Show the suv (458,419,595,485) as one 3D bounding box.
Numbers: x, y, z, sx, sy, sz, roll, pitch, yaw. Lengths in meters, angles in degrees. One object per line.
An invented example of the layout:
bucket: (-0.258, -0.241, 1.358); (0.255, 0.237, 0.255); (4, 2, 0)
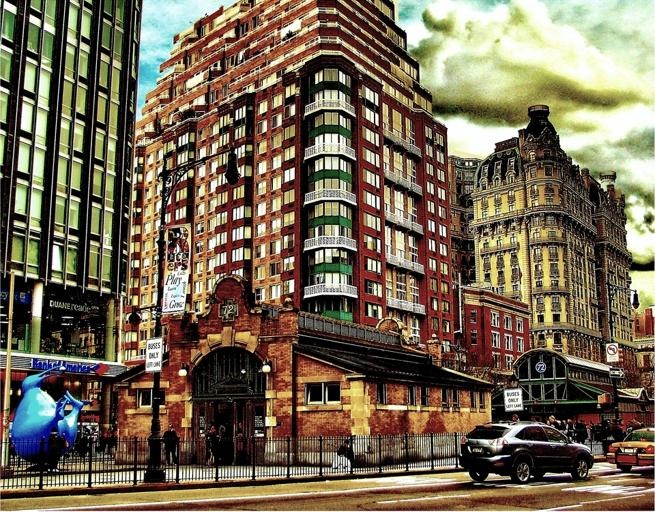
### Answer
suv: (8.906, 8.872, 40.940); (5.696, 2.188, 2.561); (4, -13, -30)
